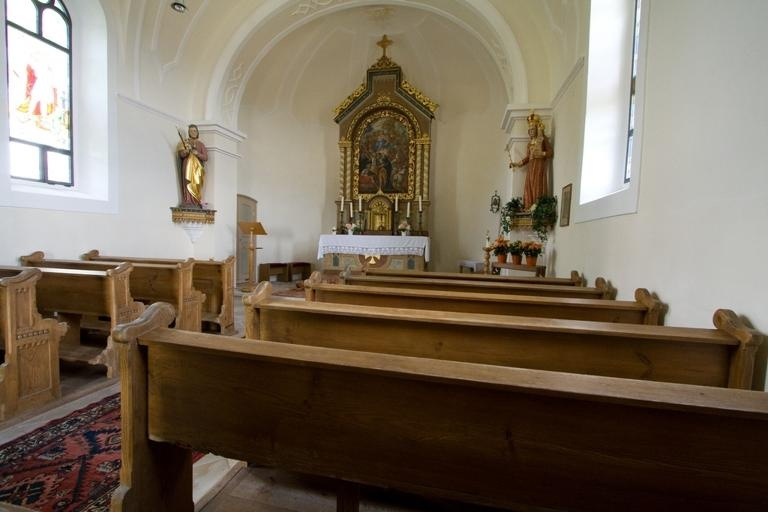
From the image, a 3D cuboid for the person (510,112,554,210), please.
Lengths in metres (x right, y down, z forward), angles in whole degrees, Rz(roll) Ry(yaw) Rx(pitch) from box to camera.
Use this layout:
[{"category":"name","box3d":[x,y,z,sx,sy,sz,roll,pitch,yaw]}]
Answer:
[{"category":"person","box3d":[2.342,-1.460,8.131,0.493,1.469,0.898,-2,11,-7]}]

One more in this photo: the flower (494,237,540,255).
[{"category":"flower","box3d":[1.911,-0.122,7.617,0.554,0.234,0.293,3,4,35]}]

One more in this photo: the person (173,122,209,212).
[{"category":"person","box3d":[-3.590,-1.712,9.883,0.609,1.458,0.396,-10,15,-39]}]

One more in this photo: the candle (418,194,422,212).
[{"category":"candle","box3d":[0.839,-1.233,12.353,0.085,0.375,0.238,2,11,11]}]

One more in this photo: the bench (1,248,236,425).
[{"category":"bench","box3d":[-2.653,0.774,5.038,1.568,0.709,0.889,2,7,13]}]
